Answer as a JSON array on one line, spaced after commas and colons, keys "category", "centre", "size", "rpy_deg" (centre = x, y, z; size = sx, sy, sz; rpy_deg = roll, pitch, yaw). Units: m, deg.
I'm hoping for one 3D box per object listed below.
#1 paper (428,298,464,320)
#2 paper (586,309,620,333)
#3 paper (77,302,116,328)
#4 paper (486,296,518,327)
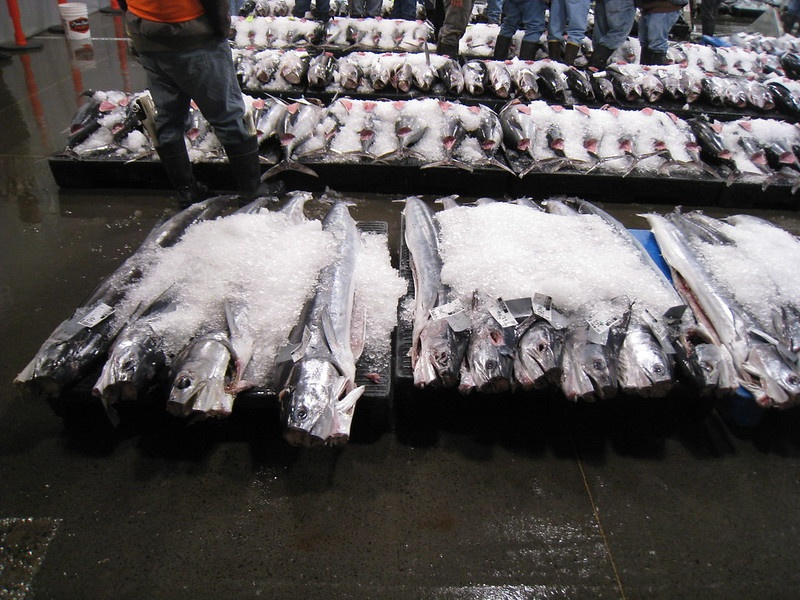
[{"category": "paper", "centre": [0.281, 0.063, 2.979], "size": [0.236, 0.041, 0.108], "rpy_deg": [-21, 36, -33]}, {"category": "paper", "centre": [1.156, 0.115, 2.967], "size": [0.219, 0.040, 0.131], "rpy_deg": [-21, 36, -33]}, {"category": "paper", "centre": [-1.685, 0.091, 2.911], "size": [0.124, 0.022, 0.214], "rpy_deg": [20, 37, 9]}, {"category": "paper", "centre": [0.573, 0.069, 2.920], "size": [0.139, 0.046, 0.185], "rpy_deg": [-20, 60, -14]}]
